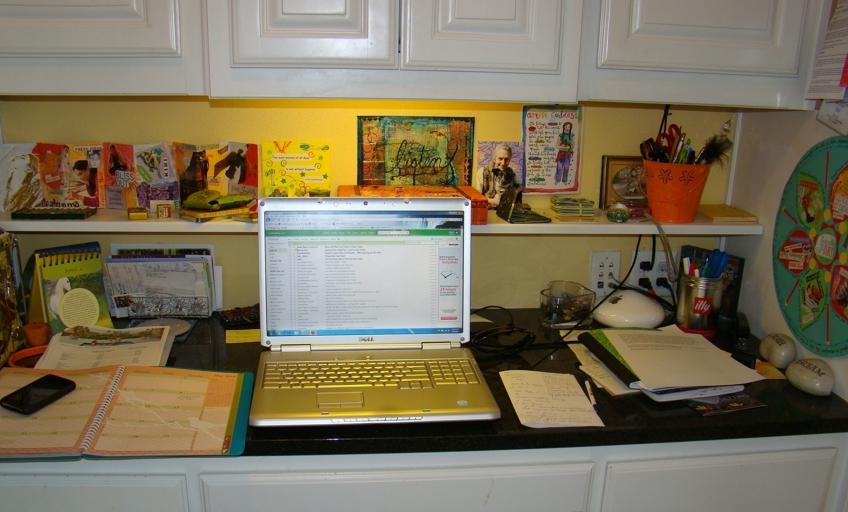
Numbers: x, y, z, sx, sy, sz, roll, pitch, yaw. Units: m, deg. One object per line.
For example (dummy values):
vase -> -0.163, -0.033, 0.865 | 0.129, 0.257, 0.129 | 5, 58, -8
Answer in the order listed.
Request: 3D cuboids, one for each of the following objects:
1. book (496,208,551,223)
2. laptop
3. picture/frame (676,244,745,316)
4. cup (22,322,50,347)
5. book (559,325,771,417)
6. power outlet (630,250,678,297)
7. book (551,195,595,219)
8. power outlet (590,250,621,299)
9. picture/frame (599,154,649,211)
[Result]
book -> 0.348, -0.142, 2.155 | 0.183, 0.051, 0.094 | 0, 14, 6
laptop -> -0.155, 0.158, 1.842 | 0.740, 0.463, 0.505 | 1, 21, -7
picture/frame -> 1.033, 0.095, 2.214 | 0.037, 0.241, 0.222 | 4, 13, -30
cup -> -1.302, 0.263, 2.080 | 0.085, 0.078, 0.076 | 1, 7, -5
book -> 0.793, 0.360, 2.004 | 0.322, 0.065, 0.301 | -6, 19, -11
power outlet -> 0.878, 0.070, 2.336 | 0.180, 0.166, 0.041 | 4, 12, 1
book -> 0.542, -0.173, 2.229 | 0.162, 0.069, 0.108 | 0, 14, 7
power outlet -> 0.702, 0.073, 2.381 | 0.008, 0.181, 0.119 | 2, 0, -43
picture/frame -> 0.765, -0.268, 2.304 | 0.014, 0.199, 0.218 | 3, 1, -29
